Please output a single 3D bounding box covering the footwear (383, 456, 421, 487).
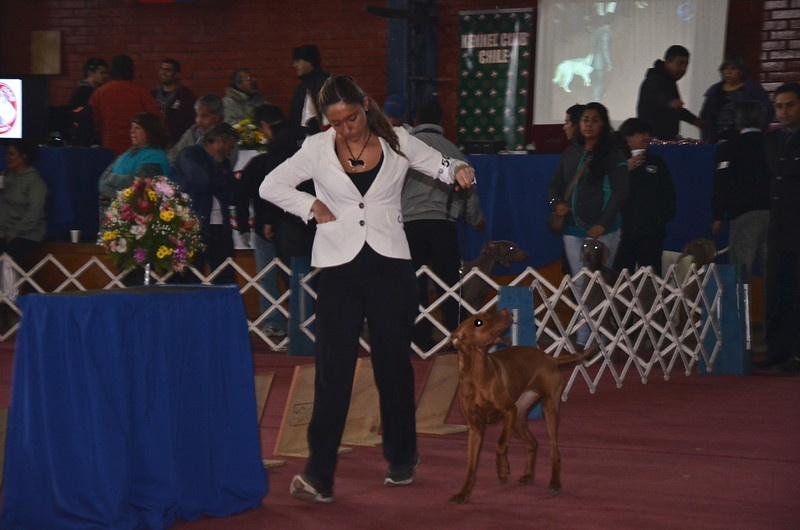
[{"bbox_3d":[0.029,1.373,6.200,0.118,0.129,0.302,6,17,32],"label":"footwear"}]

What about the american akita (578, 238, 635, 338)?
[{"bbox_3d":[1.963,0.229,9.115,0.437,1.127,0.438,1,7,5],"label":"american akita"}]

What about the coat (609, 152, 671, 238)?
[{"bbox_3d":[2.406,-0.735,9.344,0.805,1.050,0.453,2,16,8],"label":"coat"}]

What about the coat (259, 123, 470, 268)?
[{"bbox_3d":[-0.199,-0.412,6.036,1.345,0.808,0.454,-5,2,4],"label":"coat"}]

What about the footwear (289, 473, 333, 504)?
[{"bbox_3d":[-0.594,1.445,6.052,0.361,0.178,0.122,6,5,17],"label":"footwear"}]

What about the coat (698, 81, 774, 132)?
[{"bbox_3d":[4.146,-1.951,11.547,0.803,0.717,0.428,9,6,31],"label":"coat"}]

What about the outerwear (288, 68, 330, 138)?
[{"bbox_3d":[-0.850,-1.500,9.193,0.216,0.596,0.266,-12,-21,3],"label":"outerwear"}]

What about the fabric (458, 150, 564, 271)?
[{"bbox_3d":[1.156,-0.580,9.428,1.347,1.347,0.148,0,2,2],"label":"fabric"}]

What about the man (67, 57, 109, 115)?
[{"bbox_3d":[-4.363,-2.544,13.119,0.437,0.778,0.849,7,2,15],"label":"man"}]

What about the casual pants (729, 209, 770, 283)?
[{"bbox_3d":[3.668,-0.222,9.529,0.208,0.674,0.301,10,-6,-38],"label":"casual pants"}]

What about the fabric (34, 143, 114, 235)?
[{"bbox_3d":[-3.877,-0.893,11.414,1.051,1.183,0.990,0,-2,-10],"label":"fabric"}]

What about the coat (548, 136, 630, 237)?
[{"bbox_3d":[1.901,-0.771,9.170,0.813,0.891,0.523,21,20,37],"label":"coat"}]

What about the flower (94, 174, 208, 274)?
[{"bbox_3d":[-1.755,-0.232,6.638,0.811,0.790,0.646,1,-10,2],"label":"flower"}]
